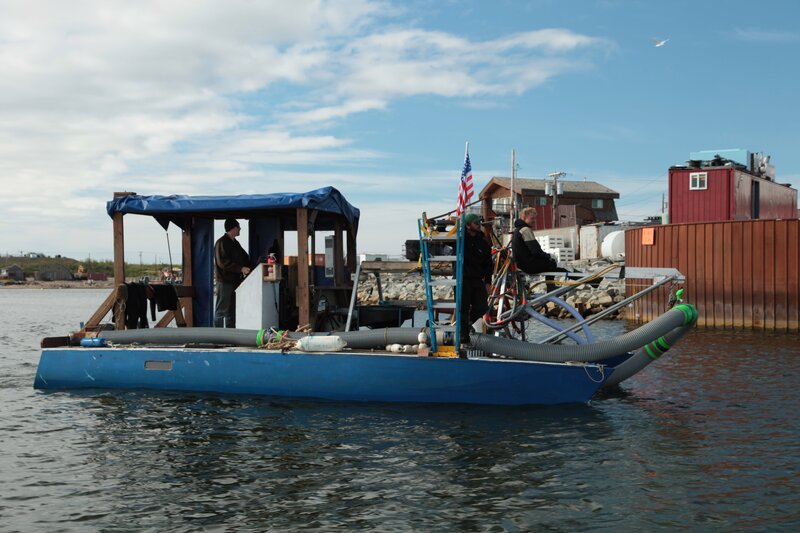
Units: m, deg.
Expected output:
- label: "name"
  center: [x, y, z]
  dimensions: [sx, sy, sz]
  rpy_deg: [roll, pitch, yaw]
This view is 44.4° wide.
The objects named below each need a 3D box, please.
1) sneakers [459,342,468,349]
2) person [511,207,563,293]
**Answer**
- label: "sneakers"
  center: [1.095, 1.393, 17.037]
  dimensions: [0.102, 0.083, 0.128]
  rpy_deg: [0, -7, -8]
- label: "person"
  center: [2.569, -0.448, 18.259]
  dimensions: [1.159, 1.196, 1.017]
  rpy_deg: [1, -5, 6]
